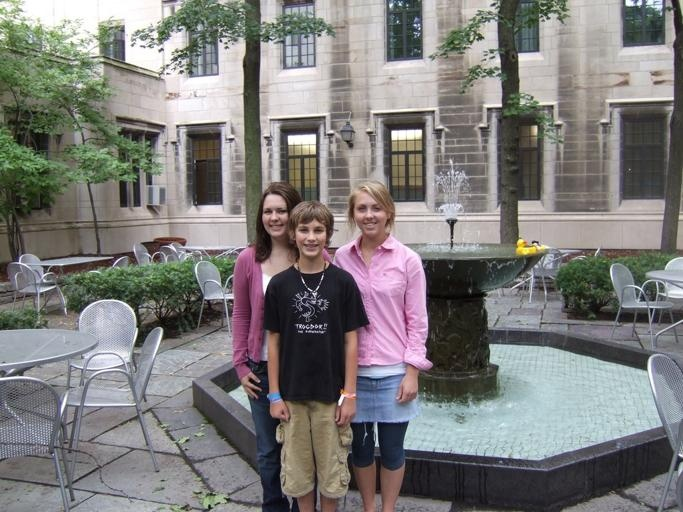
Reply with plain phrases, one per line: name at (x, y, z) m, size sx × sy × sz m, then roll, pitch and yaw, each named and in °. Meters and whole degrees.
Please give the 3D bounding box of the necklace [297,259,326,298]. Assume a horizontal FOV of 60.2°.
necklace at (-0.179, 0.139, 3.506) m, size 0.239 × 0.226 × 0.072 m, roll -1°, pitch -1°, yaw -3°

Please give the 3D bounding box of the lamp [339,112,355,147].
lamp at (0.166, -3.685, 17.155) m, size 0.434 × 1.032 × 0.428 m, roll -2°, pitch 7°, yaw 1°

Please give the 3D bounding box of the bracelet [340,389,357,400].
bracelet at (0.037, 0.823, 3.490) m, size 0.057 × 0.073 × 0.032 m, roll -1°, pitch 6°, yaw 1°

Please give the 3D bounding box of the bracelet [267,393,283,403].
bracelet at (-0.409, 0.847, 3.540) m, size 0.067 × 0.050 × 0.068 m, roll -7°, pitch -15°, yaw 30°

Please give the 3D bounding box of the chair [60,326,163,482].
chair at (-1.972, 1.173, 4.999) m, size 0.802 × 1.115 × 0.710 m, roll 1°, pitch 4°, yaw -18°

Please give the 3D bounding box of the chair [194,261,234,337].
chair at (-2.026, 0.575, 9.360) m, size 0.579 × 1.035 × 1.715 m, roll -4°, pitch 7°, yaw -11°

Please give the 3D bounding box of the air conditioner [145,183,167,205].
air conditioner at (-6.129, -1.978, 19.447) m, size 0.197 × 0.707 × 0.679 m, roll 3°, pitch 9°, yaw 37°

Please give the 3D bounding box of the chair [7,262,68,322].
chair at (-5.231, 0.622, 10.089) m, size 0.737 × 1.098 × 0.791 m, roll 8°, pitch 15°, yaw 24°

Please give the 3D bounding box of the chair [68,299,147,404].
chair at (-2.183, 0.820, 5.418) m, size 0.744 × 1.134 × 0.820 m, roll 0°, pitch -1°, yaw -8°
